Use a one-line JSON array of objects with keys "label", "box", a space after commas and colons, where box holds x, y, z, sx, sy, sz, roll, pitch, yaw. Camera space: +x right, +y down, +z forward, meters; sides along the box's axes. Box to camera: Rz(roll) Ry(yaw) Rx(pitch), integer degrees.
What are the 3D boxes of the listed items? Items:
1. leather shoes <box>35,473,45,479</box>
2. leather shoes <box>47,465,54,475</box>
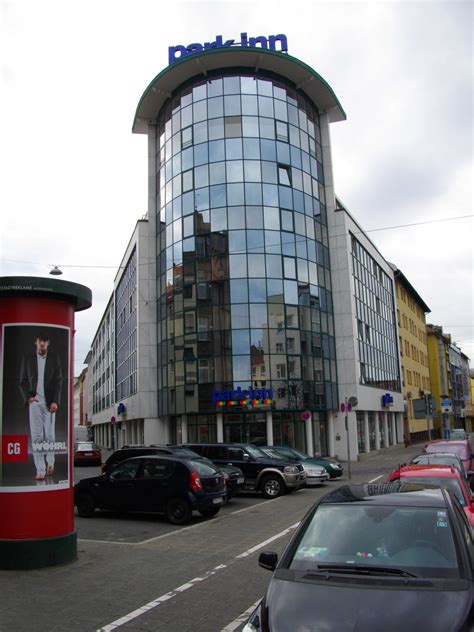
[{"label": "leather shoes", "box": [-2.809, 2.265, 8.137, 0.086, 0.052, 0.156, 1, -3, -3]}, {"label": "leather shoes", "box": [-2.679, 2.218, 8.264, 0.085, 0.117, 0.114, 4, -4, -13]}]
